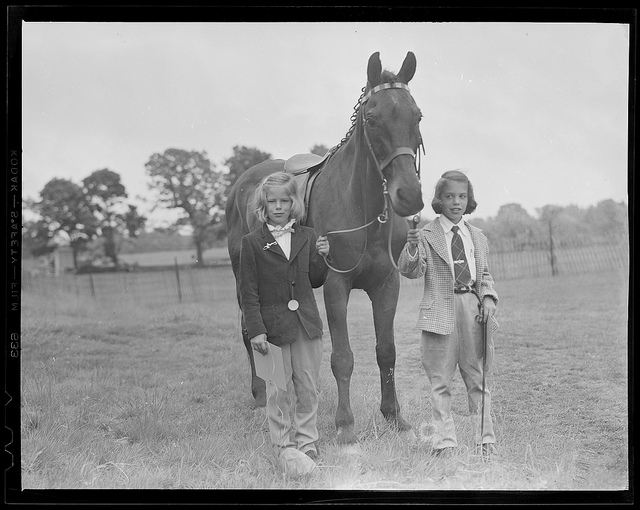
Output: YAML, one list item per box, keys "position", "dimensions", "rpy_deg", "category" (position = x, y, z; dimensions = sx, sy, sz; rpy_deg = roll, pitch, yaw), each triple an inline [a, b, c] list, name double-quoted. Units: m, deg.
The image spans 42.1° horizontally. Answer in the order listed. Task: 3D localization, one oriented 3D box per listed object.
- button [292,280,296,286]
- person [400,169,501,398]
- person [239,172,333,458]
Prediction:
- position: [-0.203, 0.210, 6.205]
  dimensions: [0.016, 0.021, 0.033]
  rpy_deg: [2, 44, 3]
  category: "button"
- position: [1.056, 0.221, 6.388]
  dimensions: [0.582, 1.724, 0.374]
  rpy_deg: [-1, 6, 6]
  category: "person"
- position: [-0.265, 0.458, 6.280]
  dimensions: [0.659, 2.143, 0.388]
  rpy_deg: [-3, 6, -7]
  category: "person"
